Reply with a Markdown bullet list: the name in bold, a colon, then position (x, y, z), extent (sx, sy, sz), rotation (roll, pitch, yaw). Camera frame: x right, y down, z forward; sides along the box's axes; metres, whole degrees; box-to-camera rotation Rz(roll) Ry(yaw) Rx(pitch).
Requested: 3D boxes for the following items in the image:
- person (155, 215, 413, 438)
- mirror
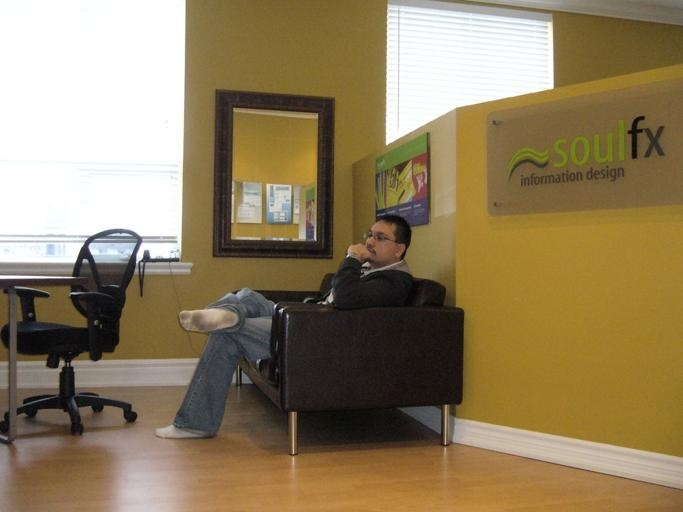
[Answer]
- **person**: position (-0.339, 0.384, 3.996), extent (1.739, 1.188, 0.792), rotation (-7, 4, -27)
- **mirror**: position (-0.637, -0.696, 5.359), extent (1.359, 1.934, 0.072), rotation (2, -3, -14)
